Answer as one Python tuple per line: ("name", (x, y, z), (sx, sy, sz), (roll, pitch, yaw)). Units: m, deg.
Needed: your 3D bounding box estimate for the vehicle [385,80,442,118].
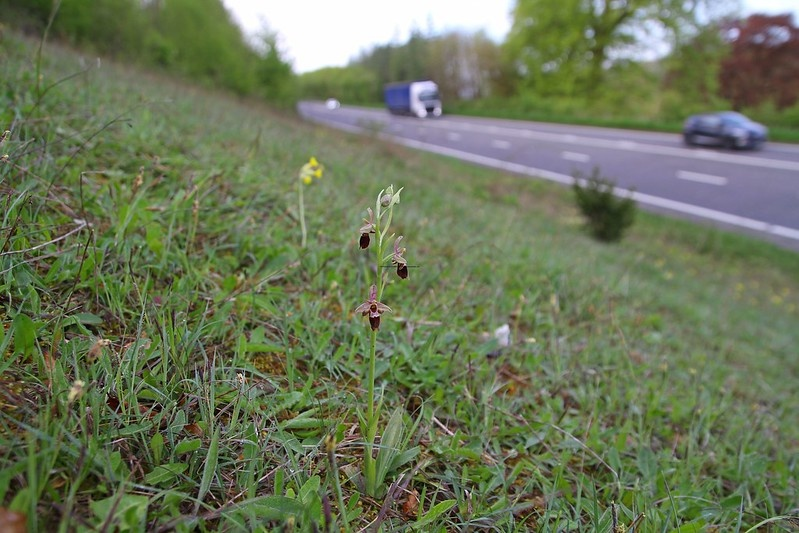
("vehicle", (0.094, -1.286, 4.293), (0.184, 0.283, 0.644), (-15, 21, -25))
